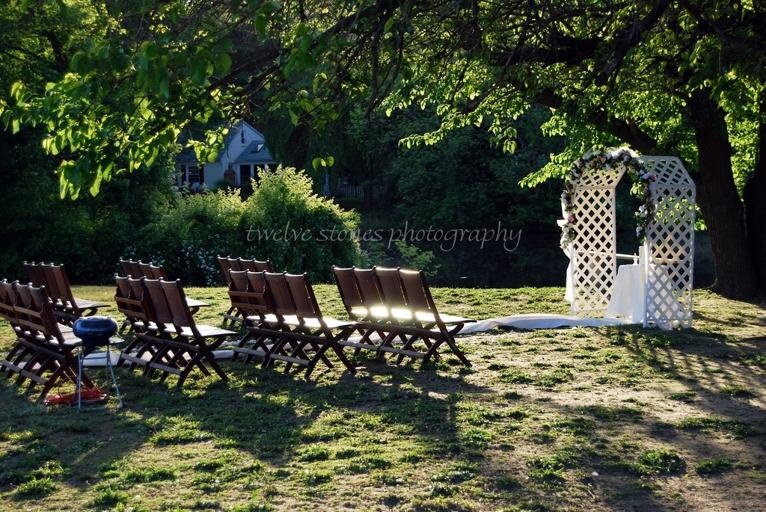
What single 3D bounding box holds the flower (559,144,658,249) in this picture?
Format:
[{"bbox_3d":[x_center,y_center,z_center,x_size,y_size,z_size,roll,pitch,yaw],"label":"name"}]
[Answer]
[{"bbox_3d":[3.941,-0.897,15.806,0.775,2.017,2.450,-4,15,-16],"label":"flower"}]
